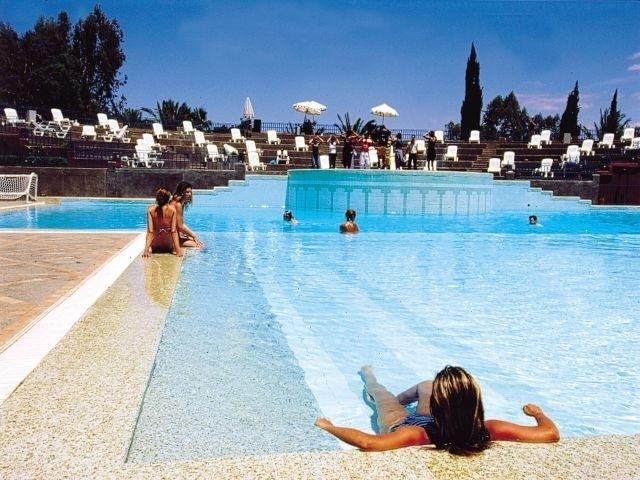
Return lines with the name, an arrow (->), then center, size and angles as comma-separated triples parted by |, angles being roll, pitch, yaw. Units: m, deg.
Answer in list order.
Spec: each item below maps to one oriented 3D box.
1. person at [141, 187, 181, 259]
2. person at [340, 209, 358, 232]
person -> -2.642, -0.304, 7.039 | 0.620, 1.134, 0.818 | 9, 11, 43
person -> 0.804, -0.516, 11.574 | 0.477, 0.603, 0.909 | 1, 8, -2
